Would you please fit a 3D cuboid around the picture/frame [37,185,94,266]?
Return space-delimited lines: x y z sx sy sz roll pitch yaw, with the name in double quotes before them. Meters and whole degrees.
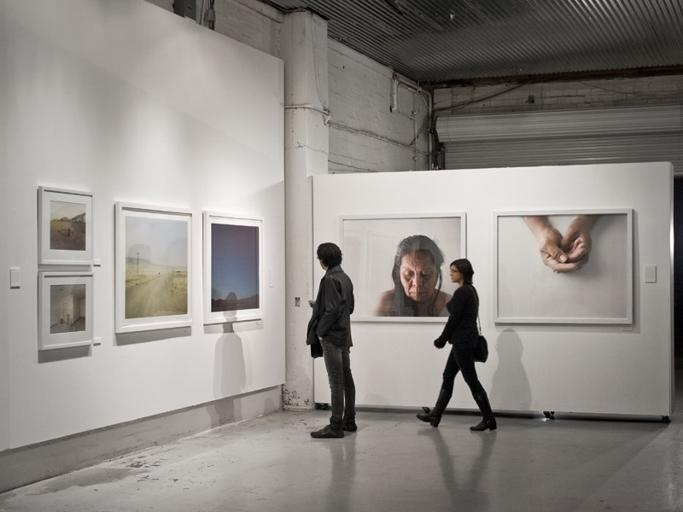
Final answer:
"picture/frame" -2.353 -0.258 4.549 0.049 0.785 0.643 -2 -2 29

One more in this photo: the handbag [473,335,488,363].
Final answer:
"handbag" 1.502 1.000 5.823 0.135 0.298 0.251 -1 -3 18

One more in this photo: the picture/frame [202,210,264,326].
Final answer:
"picture/frame" -1.289 0.141 6.234 0.067 1.569 1.270 1 3 32

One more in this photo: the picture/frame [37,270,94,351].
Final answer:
"picture/frame" -2.342 0.454 4.532 0.075 0.817 0.649 -2 -2 30

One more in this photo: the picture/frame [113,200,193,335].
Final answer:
"picture/frame" -1.847 -0.109 5.372 0.716 0.056 0.994 1 -46 -20

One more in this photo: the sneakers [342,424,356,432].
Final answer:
"sneakers" 0.092 1.889 5.963 0.132 0.095 0.079 7 -6 -1

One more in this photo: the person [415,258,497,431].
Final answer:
"person" 1.329 0.976 5.937 0.651 1.903 0.554 -1 -3 16

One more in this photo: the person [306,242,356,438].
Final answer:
"person" -0.092 0.903 5.828 0.389 2.085 0.598 -2 -3 27

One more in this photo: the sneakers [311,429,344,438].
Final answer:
"sneakers" -0.148 1.900 5.734 0.244 0.102 0.142 5 -8 2

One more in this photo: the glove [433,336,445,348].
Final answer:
"glove" 1.061 0.936 5.830 0.127 0.101 0.132 2 -7 -19

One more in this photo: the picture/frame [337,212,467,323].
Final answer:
"picture/frame" 0.813 0.170 6.649 1.253 1.130 0.051 -1 -3 12
